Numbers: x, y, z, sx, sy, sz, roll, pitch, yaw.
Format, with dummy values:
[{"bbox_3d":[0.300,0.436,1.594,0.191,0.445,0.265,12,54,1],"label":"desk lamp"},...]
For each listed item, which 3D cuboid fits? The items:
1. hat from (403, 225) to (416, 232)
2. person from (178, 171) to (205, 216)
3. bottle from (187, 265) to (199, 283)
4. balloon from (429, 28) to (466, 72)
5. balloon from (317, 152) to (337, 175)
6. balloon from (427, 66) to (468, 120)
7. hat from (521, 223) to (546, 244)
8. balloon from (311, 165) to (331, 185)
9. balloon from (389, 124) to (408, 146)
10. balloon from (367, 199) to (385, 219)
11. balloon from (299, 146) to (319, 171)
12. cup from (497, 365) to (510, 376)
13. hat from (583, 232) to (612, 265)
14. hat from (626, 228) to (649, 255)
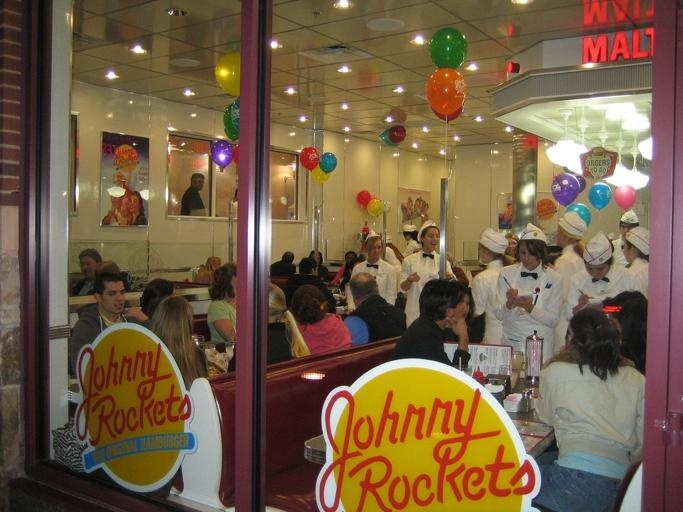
[{"bbox_3d":[1.237,-0.506,10.691,0.216,0.164,0.311,1,1,-6],"label":"hat"},{"bbox_3d":[-2.560,-1.004,9.757,0.498,1.062,0.730,2,4,-13],"label":"person"},{"bbox_3d":[-1.930,0.238,7.545,0.149,0.297,0.150,4,4,0],"label":"bottle"},{"bbox_3d":[0.810,-1.607,4.512,0.267,0.343,0.271,-4,5,-30],"label":"balloon"},{"bbox_3d":[-0.230,-1.433,9.045,0.288,0.400,0.307,1,1,-8],"label":"balloon"},{"bbox_3d":[0.809,-1.276,4.552,0.304,0.392,0.308,7,-8,-35],"label":"balloon"},{"bbox_3d":[1.500,-0.197,4.599,0.156,0.132,0.227,-1,-12,14],"label":"hat"},{"bbox_3d":[-0.337,-1.283,9.245,0.281,0.374,0.305,-1,-4,5],"label":"balloon"},{"bbox_3d":[0.771,-1.734,8.257,0.219,0.248,0.342,2,5,14],"label":"balloon"},{"bbox_3d":[0.623,-0.915,11.193,0.320,0.426,0.339,2,-4,33],"label":"balloon"},{"bbox_3d":[-0.534,-1.476,8.843,0.326,0.449,0.340,7,15,36],"label":"balloon"},{"bbox_3d":[0.863,0.613,3.105,0.040,0.043,0.040,0,-2,0],"label":"cup"},{"bbox_3d":[1.790,-0.060,4.080,0.179,0.169,0.265,2,19,40],"label":"hat"},{"bbox_3d":[2.034,-0.099,4.015,0.120,0.165,0.059,-41,-2,-14],"label":"hat"}]
